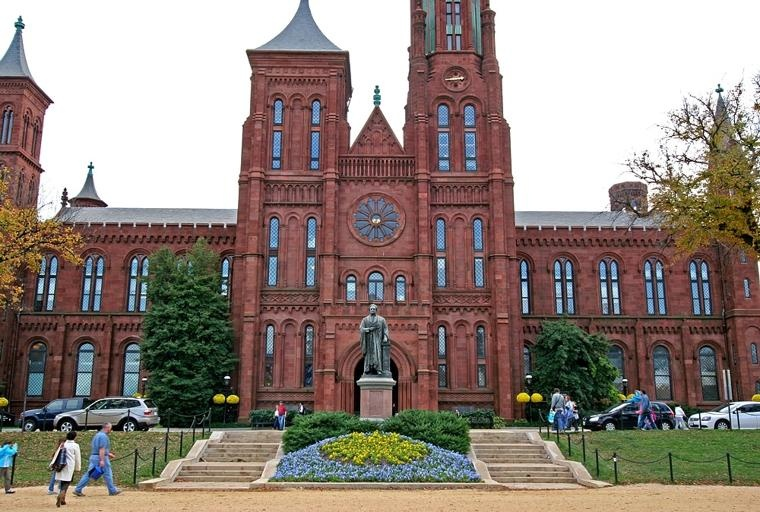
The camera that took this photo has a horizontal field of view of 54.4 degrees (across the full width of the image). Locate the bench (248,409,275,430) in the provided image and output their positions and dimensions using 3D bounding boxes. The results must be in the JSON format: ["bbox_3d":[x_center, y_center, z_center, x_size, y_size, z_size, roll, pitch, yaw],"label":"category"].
[{"bbox_3d":[-7.385,10.227,46.269,1.342,0.824,1.275,1,-10,-7],"label":"bench"}]

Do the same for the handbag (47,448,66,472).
[{"bbox_3d":[-11.971,7.601,27.677,0.595,0.883,0.318,-8,-16,21],"label":"handbag"}]

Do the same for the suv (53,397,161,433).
[{"bbox_3d":[-15.271,8.954,41.965,4.905,1.830,1.358,0,-15,-6],"label":"suv"}]

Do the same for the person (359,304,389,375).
[{"bbox_3d":[-0.278,4.301,38.123,1.390,3.636,0.870,-1,-15,-4],"label":"person"}]
